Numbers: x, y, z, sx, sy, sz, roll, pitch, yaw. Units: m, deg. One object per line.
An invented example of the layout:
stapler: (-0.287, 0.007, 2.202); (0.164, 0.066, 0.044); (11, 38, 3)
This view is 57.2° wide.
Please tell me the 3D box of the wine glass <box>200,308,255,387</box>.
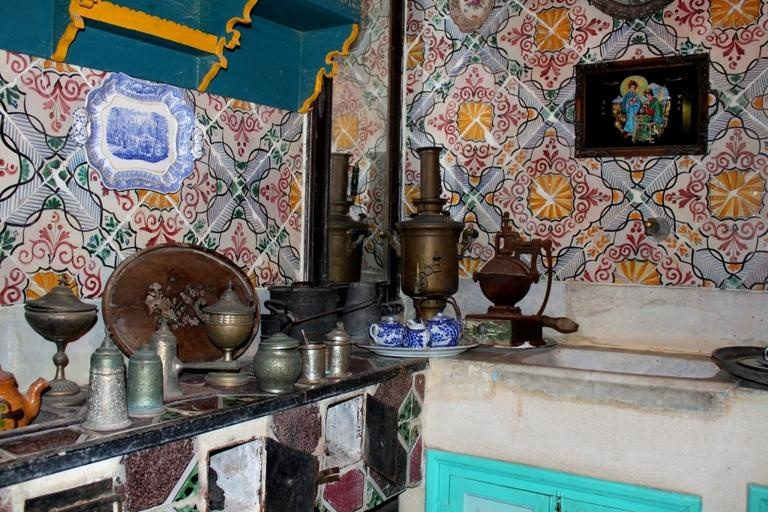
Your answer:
wine glass: (-0.517, 0.296, 2.339); (0.177, 0.252, 0.188); (1, -1, 0)

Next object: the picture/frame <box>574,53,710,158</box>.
picture/frame: (1.130, -0.644, 3.009); (0.459, 0.356, 0.038); (-1, -4, 26)

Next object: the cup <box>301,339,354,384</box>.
cup: (-0.195, 0.347, 2.326); (0.098, 0.136, 0.198); (-1, -3, 25)

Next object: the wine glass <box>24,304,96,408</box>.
wine glass: (-0.967, 0.290, 2.112); (0.198, 0.283, 0.239); (2, -3, -23)
